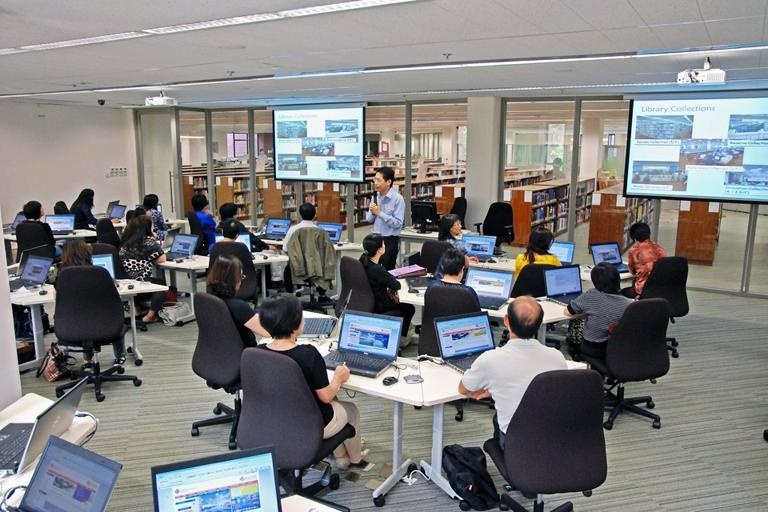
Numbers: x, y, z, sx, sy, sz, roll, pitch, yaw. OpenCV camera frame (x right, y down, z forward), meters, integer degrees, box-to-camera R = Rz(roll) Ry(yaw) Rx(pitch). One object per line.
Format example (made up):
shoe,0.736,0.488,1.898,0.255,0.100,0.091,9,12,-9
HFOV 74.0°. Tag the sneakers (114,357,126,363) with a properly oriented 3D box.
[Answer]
sneakers,-3.240,1.275,6.226,0.115,0.057,0.155,3,-4,-26

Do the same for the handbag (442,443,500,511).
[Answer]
handbag,0.714,1.839,4.200,0.357,0.168,0.481,1,16,-6

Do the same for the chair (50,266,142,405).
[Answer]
chair,-3.209,0.806,5.575,0.818,1.496,0.764,-9,12,-34

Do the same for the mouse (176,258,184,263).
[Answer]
mouse,-3.038,0.067,7.571,0.065,0.031,0.090,-4,10,-42

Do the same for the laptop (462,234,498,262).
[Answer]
laptop,1.387,-0.112,7.430,0.514,0.363,0.335,6,1,10

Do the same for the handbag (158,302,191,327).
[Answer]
handbag,-3.073,0.868,7.627,0.300,0.148,0.428,3,9,17

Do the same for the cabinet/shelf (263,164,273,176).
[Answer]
cabinet/shelf,-3.509,-2.606,15.447,0.263,0.373,3.276,-4,10,-12

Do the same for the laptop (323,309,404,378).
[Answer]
laptop,-0.158,0.733,4.394,0.631,0.366,0.550,10,29,29

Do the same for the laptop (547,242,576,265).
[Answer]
laptop,2.518,-0.050,7.254,0.402,0.299,0.375,13,1,19

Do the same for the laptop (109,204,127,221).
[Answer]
laptop,-5.812,-0.968,11.006,0.432,0.331,0.301,6,16,0

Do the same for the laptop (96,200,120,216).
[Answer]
laptop,-6.482,-1.115,11.910,0.441,0.335,0.503,-6,14,-45

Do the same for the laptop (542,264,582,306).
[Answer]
laptop,2.058,0.294,6.073,0.576,0.323,0.429,-5,9,-30

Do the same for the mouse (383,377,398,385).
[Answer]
mouse,0.050,1.009,4.113,0.124,0.037,0.103,-2,9,-2

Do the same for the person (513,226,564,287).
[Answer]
person,1.947,0.155,6.421,0.656,0.953,0.503,-6,23,0

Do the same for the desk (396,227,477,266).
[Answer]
desk,0.757,-0.159,7.444,0.729,0.470,0.451,2,10,14

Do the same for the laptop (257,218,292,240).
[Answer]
laptop,-1.957,-0.487,9.125,0.592,0.317,0.451,3,15,7

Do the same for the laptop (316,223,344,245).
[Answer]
laptop,-0.907,-0.423,8.432,0.460,0.261,0.351,12,6,7

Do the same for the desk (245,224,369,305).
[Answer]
desk,-1.160,-0.076,7.898,1.620,1.441,1.121,1,15,1

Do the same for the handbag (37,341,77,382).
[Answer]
handbag,-3.809,1.221,5.987,0.445,0.454,0.473,0,2,-35

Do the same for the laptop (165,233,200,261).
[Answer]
laptop,-3.142,-0.141,7.909,0.475,0.266,0.414,8,12,19

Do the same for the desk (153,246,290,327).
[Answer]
desk,-2.783,0.251,7.942,1.750,0.795,1.343,5,8,38

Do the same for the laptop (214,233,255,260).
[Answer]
laptop,-2.344,-0.069,7.856,0.624,0.548,0.445,1,2,4

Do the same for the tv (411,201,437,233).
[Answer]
tv,0.715,-0.696,9.124,0.537,0.527,0.191,10,28,26

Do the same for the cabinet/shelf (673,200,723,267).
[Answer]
cabinet/shelf,5.985,-0.419,9.687,0.728,1.201,0.414,2,11,23

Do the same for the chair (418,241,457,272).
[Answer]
chair,0.686,-0.023,7.148,0.394,0.527,0.464,10,17,22

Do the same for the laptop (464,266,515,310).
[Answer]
laptop,1.218,0.340,5.803,0.520,0.299,0.451,10,20,27

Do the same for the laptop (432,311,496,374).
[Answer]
laptop,0.716,0.707,4.439,0.611,0.420,0.472,-7,13,-19

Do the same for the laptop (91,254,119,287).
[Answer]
laptop,-3.181,0.155,5.777,0.307,0.343,0.379,6,8,35

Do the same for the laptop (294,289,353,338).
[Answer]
laptop,-0.592,0.541,4.913,0.441,0.286,0.423,3,14,4
